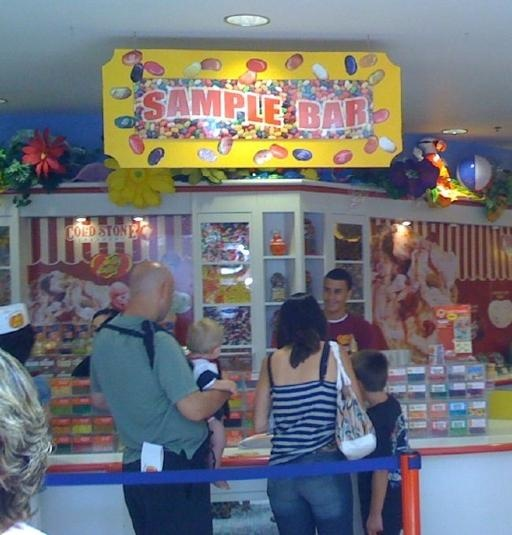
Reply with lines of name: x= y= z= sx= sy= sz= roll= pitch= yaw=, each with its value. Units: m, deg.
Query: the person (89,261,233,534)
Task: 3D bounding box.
person: x=-0.376 y=0.551 z=3.072 sx=0.559 sy=1.140 sz=0.296 roll=-1 pitch=2 yaw=-12

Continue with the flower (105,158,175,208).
flower: x=-0.836 y=-0.594 z=5.441 sx=0.472 sy=0.338 sz=0.521 roll=-1 pitch=2 yaw=-10

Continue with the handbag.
handbag: x=0.379 y=0.544 z=3.093 sx=0.195 sy=0.460 sz=0.199 roll=0 pitch=2 yaw=19
